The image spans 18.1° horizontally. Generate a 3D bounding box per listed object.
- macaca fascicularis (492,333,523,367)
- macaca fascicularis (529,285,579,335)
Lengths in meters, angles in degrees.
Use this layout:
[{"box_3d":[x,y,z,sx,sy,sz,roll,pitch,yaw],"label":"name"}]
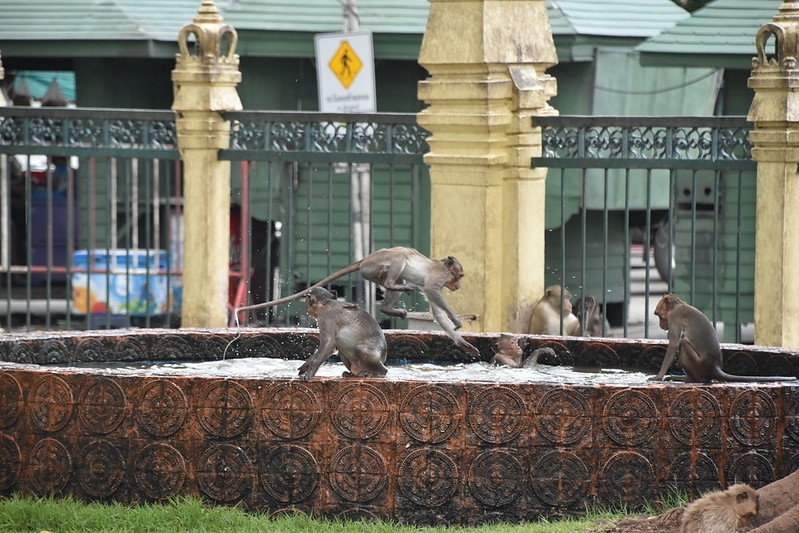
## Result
[{"box_3d":[1.033,0.804,23.786,0.262,0.415,0.372,-4,-4,26],"label":"macaca fascicularis"},{"box_3d":[1.595,0.440,26.234,0.498,0.533,0.694,-1,3,10],"label":"macaca fascicularis"}]
